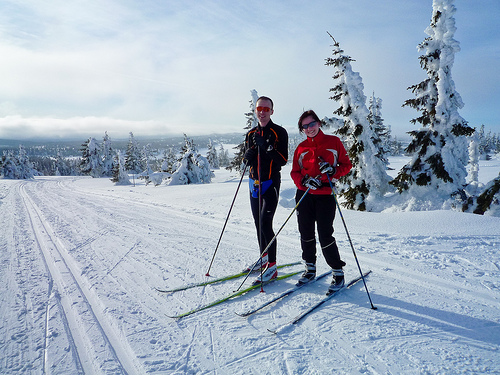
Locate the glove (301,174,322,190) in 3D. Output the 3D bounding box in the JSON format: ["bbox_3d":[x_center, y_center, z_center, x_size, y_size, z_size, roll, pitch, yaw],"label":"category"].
[{"bbox_3d":[1.200,-0.102,7.766,0.285,0.245,0.138,29,10,40],"label":"glove"}]

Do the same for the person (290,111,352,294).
[{"bbox_3d":[1.371,0.268,7.830,1.135,3.535,0.676,1,7,14],"label":"person"}]

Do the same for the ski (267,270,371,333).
[{"bbox_3d":[1.312,2.207,7.503,1.764,0.126,0.185,-31,-1,-25],"label":"ski"}]

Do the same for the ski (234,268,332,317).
[{"bbox_3d":[0.660,2.092,7.752,1.476,0.172,0.141,-26,20,-22],"label":"ski"}]
